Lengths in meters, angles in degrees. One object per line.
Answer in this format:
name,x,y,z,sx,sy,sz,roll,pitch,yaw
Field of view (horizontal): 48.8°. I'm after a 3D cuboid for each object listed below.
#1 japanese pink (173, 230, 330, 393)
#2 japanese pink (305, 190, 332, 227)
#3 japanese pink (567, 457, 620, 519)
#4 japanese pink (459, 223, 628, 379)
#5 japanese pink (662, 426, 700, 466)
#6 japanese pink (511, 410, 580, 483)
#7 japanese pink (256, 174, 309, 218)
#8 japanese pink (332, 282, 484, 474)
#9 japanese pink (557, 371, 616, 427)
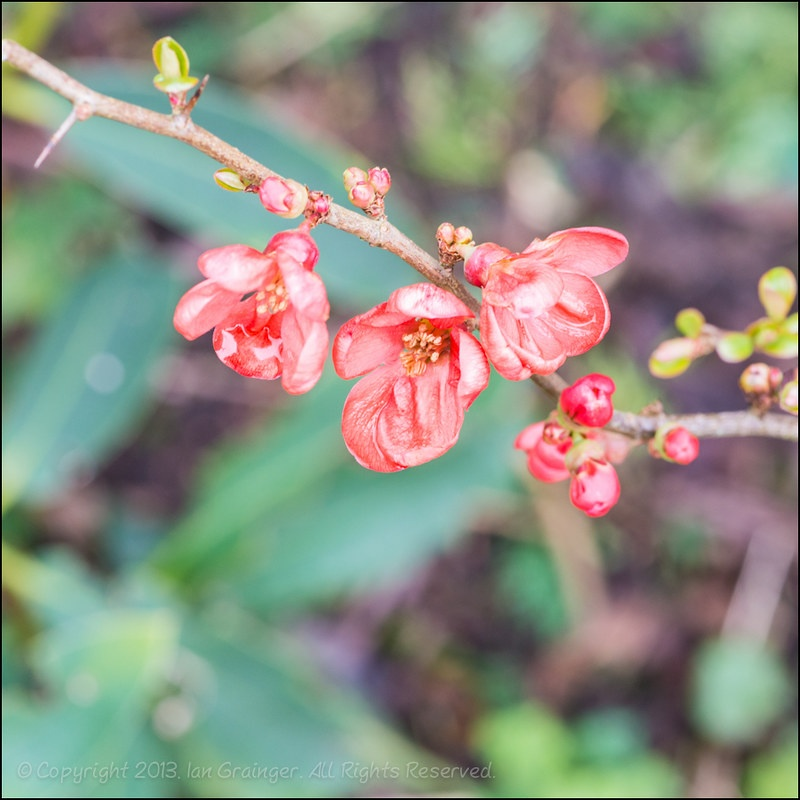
japanese pink,-0.230,-0.152,1.632,0.294,0.288,0.230,17,41,25
japanese pink,-0.147,-0.345,1.585,0.050,0.055,0.026,14,6,-11
japanese pink,0.383,0.171,1.712,0.099,0.105,0.038,-1,-10,2
japanese pink,0.292,-0.162,1.649,0.312,0.265,0.230,-5,36,-2
japanese pink,0.554,0.091,1.711,0.067,0.059,0.077,7,37,14
japanese pink,0.330,0.103,1.803,0.068,0.149,0.205,-8,11,24
japanese pink,-0.202,-0.363,1.590,0.092,0.063,0.041,25,-9,-20
japanese pink,0.008,-0.056,1.693,0.271,0.349,0.238,1,37,7
japanese pink,0.367,0.011,1.698,0.106,0.116,0.098,3,37,9
